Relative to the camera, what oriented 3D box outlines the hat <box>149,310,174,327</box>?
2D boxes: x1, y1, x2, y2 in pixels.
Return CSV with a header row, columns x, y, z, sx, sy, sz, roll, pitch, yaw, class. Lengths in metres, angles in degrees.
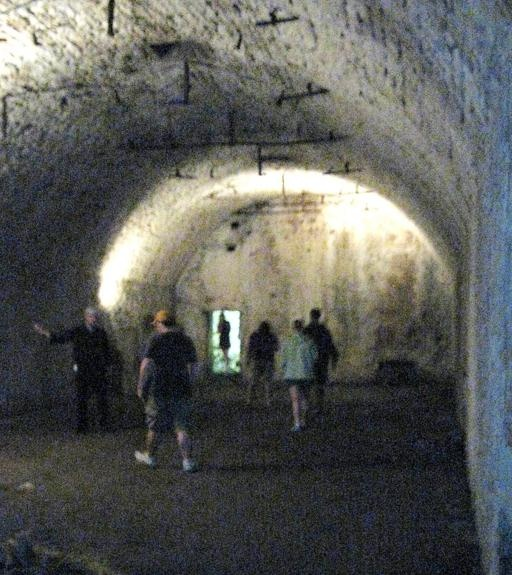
x,y,z,sx,sy,sz,roll,pitch,yaw,class
-0.360,0.120,3.992,0.053,0.049,0.074,3,0,-36,hat
